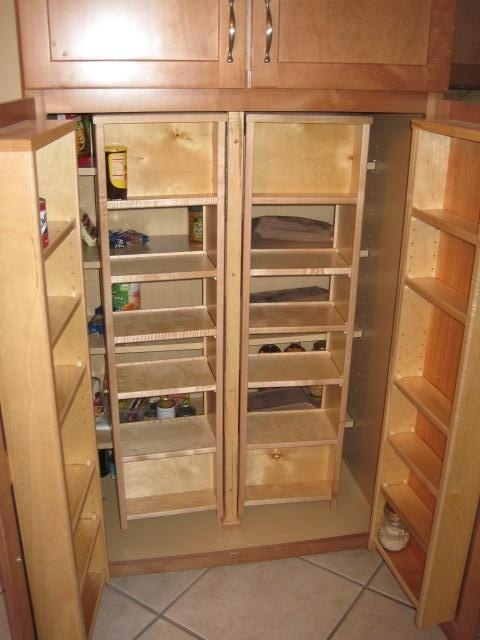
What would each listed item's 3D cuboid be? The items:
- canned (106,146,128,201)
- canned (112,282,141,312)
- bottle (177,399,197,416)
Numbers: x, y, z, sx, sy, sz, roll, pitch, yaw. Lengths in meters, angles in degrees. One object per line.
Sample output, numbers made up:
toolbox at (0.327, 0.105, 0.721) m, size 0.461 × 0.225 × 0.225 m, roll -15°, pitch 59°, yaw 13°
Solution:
canned at (-0.411, -0.489, 1.664) m, size 0.069 × 0.176 × 0.077 m, roll -5°, pitch 1°, yaw -16°
canned at (-0.461, -0.095, 2.052) m, size 0.090 × 0.139 × 0.105 m, roll 2°, pitch 12°, yaw 6°
bottle at (-0.269, 0.429, 2.463) m, size 0.052 × 0.030 × 0.087 m, roll 4°, pitch 20°, yaw -6°
